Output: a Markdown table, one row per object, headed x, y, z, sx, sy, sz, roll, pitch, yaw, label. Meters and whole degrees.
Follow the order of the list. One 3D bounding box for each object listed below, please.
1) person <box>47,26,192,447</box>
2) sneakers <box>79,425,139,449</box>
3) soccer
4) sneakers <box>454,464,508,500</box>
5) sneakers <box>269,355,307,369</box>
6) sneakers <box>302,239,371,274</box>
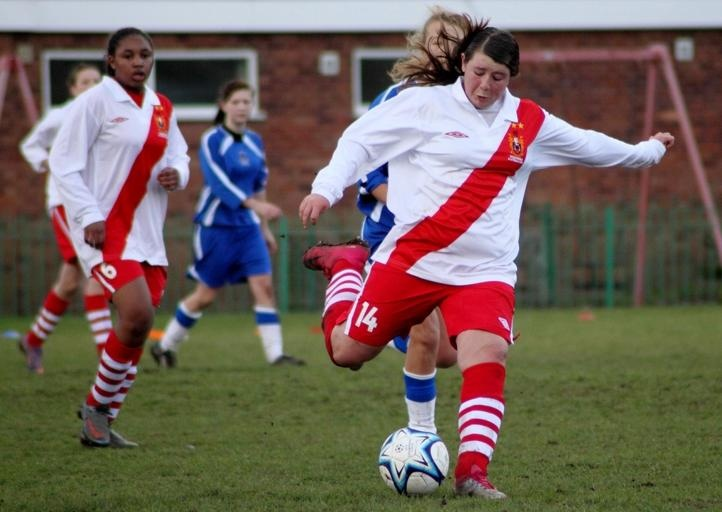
| x | y | z | sx | sy | sz | roll | pitch | yaw | label |
| --- | --- | --- | --- | --- | --- | --- | --- | --- | --- |
| -1.860 | -0.141 | 9.284 | 0.826 | 2.777 | 0.347 | 3 | 1 | -10 | person |
| -1.887 | 1.346 | 9.293 | 0.472 | 0.193 | 0.155 | 1 | -1 | -4 | sneakers |
| 0.360 | 1.420 | 8.701 | 0.431 | 0.417 | 0.331 | -10 | -32 | 38 | soccer |
| 0.793 | 1.532 | 8.482 | 0.351 | 0.217 | 0.103 | 3 | 1 | 9 | sneakers |
| -0.652 | 0.933 | 11.018 | 0.316 | 0.119 | 0.105 | -2 | 1 | -1 | sneakers |
| -0.195 | 0.004 | 9.510 | 0.427 | 0.186 | 0.259 | -17 | -15 | 37 | sneakers |
